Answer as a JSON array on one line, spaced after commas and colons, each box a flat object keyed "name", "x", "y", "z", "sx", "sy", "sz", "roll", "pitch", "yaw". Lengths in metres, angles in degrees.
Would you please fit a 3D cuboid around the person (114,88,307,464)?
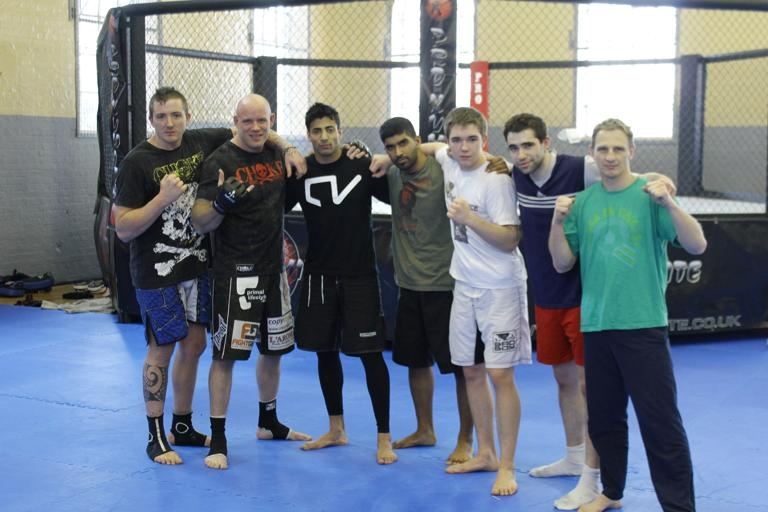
[{"name": "person", "x": -1.672, "y": 0.137, "z": 5.868, "sx": 0.930, "sy": 2.935, "sz": 0.816, "roll": -6, "pitch": 15, "yaw": -22}]
